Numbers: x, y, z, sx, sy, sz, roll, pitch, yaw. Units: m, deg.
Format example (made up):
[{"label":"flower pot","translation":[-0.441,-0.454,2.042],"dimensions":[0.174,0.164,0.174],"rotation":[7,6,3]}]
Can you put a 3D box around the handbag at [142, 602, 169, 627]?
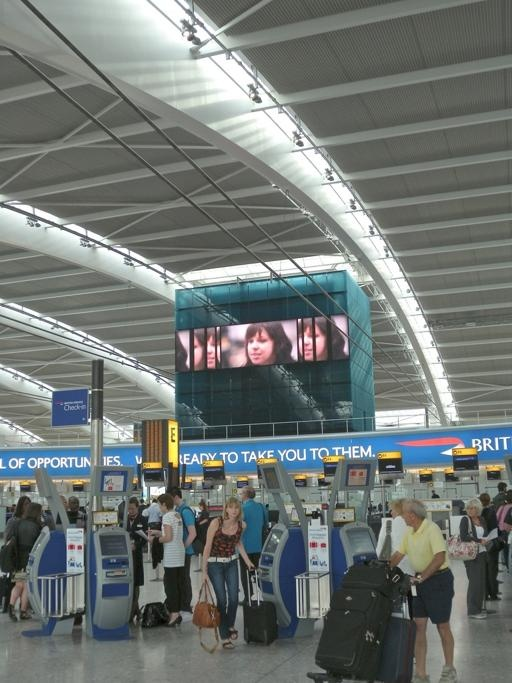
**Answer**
[{"label":"handbag","translation":[-1.114,3.124,7.091],"dimensions":[0.236,0.237,0.288],"rotation":[-14,-18,32]}]

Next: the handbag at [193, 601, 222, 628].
[{"label":"handbag","translation":[-0.393,2.283,5.196],"dimensions":[0.229,0.229,0.197],"rotation":[2,-10,-24]}]

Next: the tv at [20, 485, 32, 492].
[{"label":"tv","translation":[-10.459,6.764,28.364],"dimensions":[0.697,0.335,0.461],"rotation":[4,-2,-22]}]

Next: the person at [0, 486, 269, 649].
[{"label":"person","translation":[-1.693,2.468,6.880],"dimensions":[1.529,1.451,0.910],"rotation":[-5,-10,19]}]

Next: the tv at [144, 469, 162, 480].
[{"label":"tv","translation":[-3.311,4.371,20.216],"dimensions":[0.658,0.320,0.413],"rotation":[3,-5,-1]}]

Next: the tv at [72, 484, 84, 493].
[{"label":"tv","translation":[-7.627,6.339,26.771],"dimensions":[0.481,0.314,0.247],"rotation":[-2,-11,8]}]

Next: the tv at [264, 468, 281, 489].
[{"label":"tv","translation":[0.171,1.469,6.591],"dimensions":[0.072,0.193,0.303],"rotation":[-9,-11,-8]}]

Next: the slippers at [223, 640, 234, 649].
[{"label":"slippers","translation":[-0.259,2.831,5.803],"dimensions":[0.106,0.063,0.102],"rotation":[-1,-9,-3]}]
